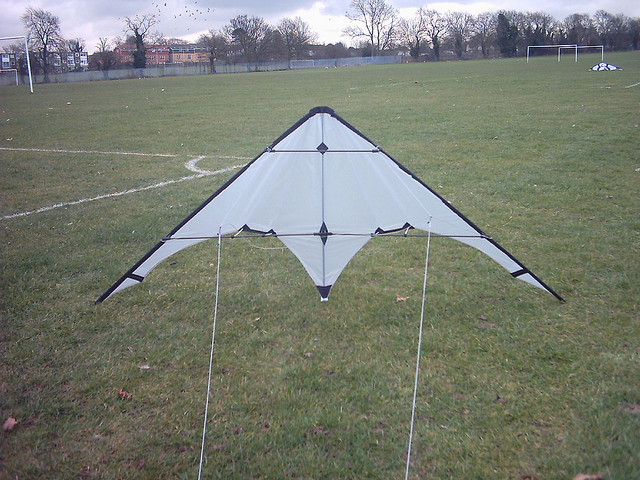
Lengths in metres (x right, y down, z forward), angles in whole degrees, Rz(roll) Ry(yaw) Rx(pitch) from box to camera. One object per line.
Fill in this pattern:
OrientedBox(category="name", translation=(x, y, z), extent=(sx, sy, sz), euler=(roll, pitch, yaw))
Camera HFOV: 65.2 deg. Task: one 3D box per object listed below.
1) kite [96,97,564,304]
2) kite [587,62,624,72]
OrientedBox(category="kite", translation=(0.033, -0.339, 5.981), extent=(3.858, 2.390, 1.331), euler=(-4, 18, -1))
OrientedBox(category="kite", translation=(17.344, -10.686, 30.675), extent=(1.399, 0.357, 2.367), euler=(1, 21, 15))
